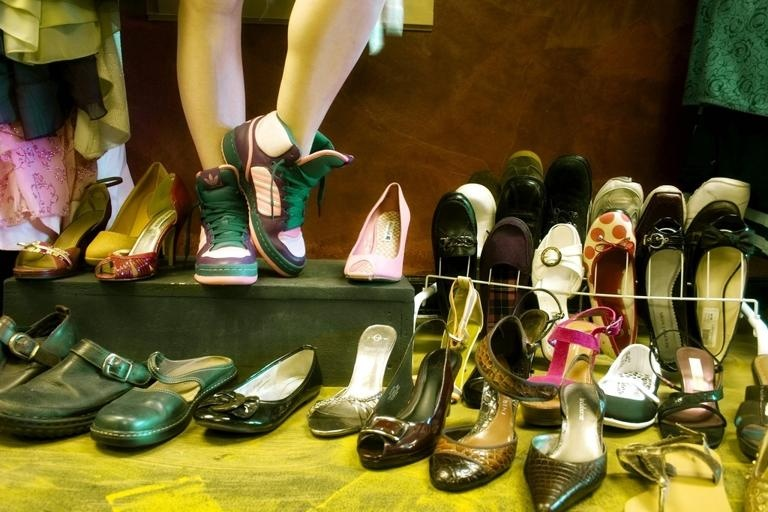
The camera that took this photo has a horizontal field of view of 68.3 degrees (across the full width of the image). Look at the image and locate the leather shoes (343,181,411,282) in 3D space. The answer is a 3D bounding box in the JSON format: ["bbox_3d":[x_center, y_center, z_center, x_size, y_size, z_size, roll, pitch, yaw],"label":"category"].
[{"bbox_3d":[-0.006,-0.059,2.093,0.191,0.404,0.179,10,-36,17],"label":"leather shoes"}]

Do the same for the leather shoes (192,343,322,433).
[{"bbox_3d":[-0.379,0.429,1.788,0.191,0.148,0.404,16,22,36],"label":"leather shoes"}]

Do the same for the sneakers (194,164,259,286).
[{"bbox_3d":[-0.547,-0.107,1.950,0.205,0.413,0.215,4,3,-21],"label":"sneakers"}]
